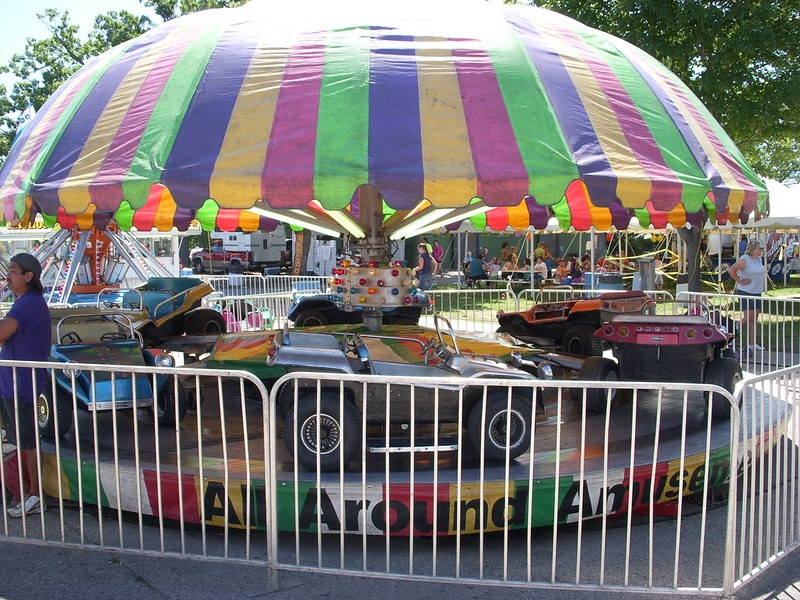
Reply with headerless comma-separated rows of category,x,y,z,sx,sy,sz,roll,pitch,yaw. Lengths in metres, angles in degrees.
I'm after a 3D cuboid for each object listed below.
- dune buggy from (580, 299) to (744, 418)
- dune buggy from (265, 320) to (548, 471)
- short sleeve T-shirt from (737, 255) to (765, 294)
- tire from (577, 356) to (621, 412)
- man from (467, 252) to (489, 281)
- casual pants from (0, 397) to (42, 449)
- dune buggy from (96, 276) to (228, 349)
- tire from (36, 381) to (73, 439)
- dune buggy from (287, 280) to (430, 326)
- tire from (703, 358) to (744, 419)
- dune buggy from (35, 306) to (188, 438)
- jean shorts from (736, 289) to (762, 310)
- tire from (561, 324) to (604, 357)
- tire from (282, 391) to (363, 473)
dune buggy,3.327,0.759,10.126,1.265,0.963,1.767,-2,-6,19
dune buggy,0.013,0.925,8.048,2.268,1.090,1.377,-1,2,-13
short sleeve T-shirt,6.264,-0.450,14.553,0.624,0.820,0.454,-6,8,-40
tire,2.190,0.931,8.928,0.250,0.567,0.565,-1,13,26
man,2.752,-1.211,29.335,0.906,1.022,0.797,-7,14,-26
casual pants,-3.677,1.196,7.821,0.304,0.525,1.121,1,-2,-27
dune buggy,-3.757,0.099,12.961,1.333,0.974,2.035,-4,-7,25
tire,-3.493,1.080,8.205,0.224,0.628,0.613,-4,14,-43
dune buggy,-0.815,0.175,13.795,1.696,0.789,0.989,0,3,-2
tire,3.372,0.916,8.497,0.202,0.537,0.535,1,26,22
dune buggy,-3.376,0.764,9.153,1.316,1.155,1.963,0,-3,-30
jean shorts,6.168,-0.014,14.380,0.321,0.560,0.415,0,2,33
tire,2.747,0.623,12.192,0.185,0.525,0.515,1,5,-28
tire,-0.742,1.244,7.853,0.717,0.730,0.721,11,4,6
